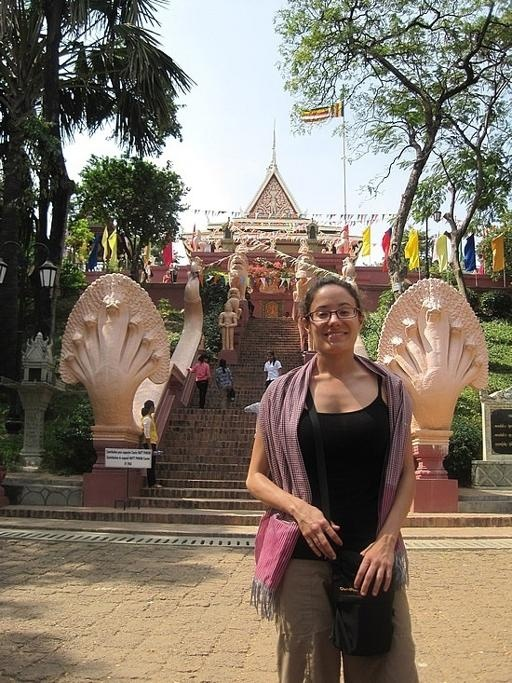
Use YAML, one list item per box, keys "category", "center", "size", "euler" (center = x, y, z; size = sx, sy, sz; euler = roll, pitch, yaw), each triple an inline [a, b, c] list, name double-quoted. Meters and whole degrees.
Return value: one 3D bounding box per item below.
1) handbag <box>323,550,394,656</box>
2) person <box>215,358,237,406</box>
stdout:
- category: "handbag"
  center: [0.275, 0.709, 1.864]
  size: [0.172, 0.266, 0.141]
  euler: [1, -7, 8]
- category: "person"
  center: [-0.580, 0.874, 14.201]
  size: [0.329, 0.943, 0.596]
  euler: [-3, -9, 34]
